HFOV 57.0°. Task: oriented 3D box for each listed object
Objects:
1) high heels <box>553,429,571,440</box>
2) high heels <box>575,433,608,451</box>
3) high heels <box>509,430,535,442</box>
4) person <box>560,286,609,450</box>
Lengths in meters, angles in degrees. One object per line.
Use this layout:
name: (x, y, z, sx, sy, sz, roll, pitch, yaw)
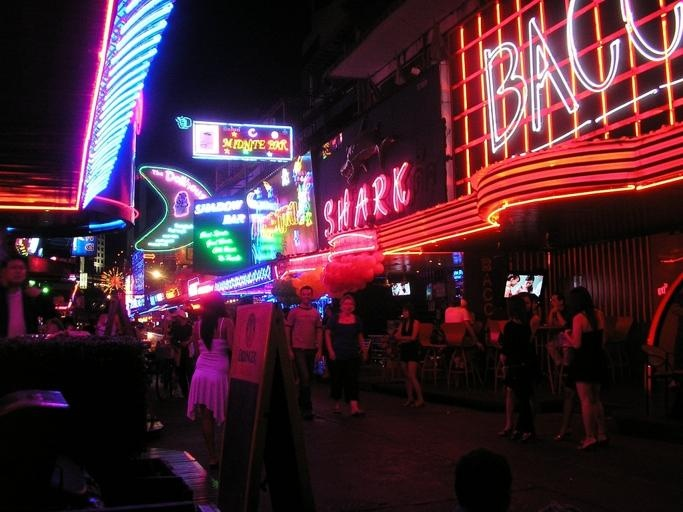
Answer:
high heels: (3.290, 2.720, 9.480, 0.101, 0.120, 0.285, 0, -3, -22)
high heels: (3.521, 2.623, 8.745, 0.479, 0.216, 0.185, -8, -3, 20)
high heels: (2.688, 2.693, 9.313, 0.348, 0.172, 0.123, -5, -5, 7)
person: (3.653, 1.618, 9.384, 0.527, 2.290, 1.377, -2, -5, 19)
